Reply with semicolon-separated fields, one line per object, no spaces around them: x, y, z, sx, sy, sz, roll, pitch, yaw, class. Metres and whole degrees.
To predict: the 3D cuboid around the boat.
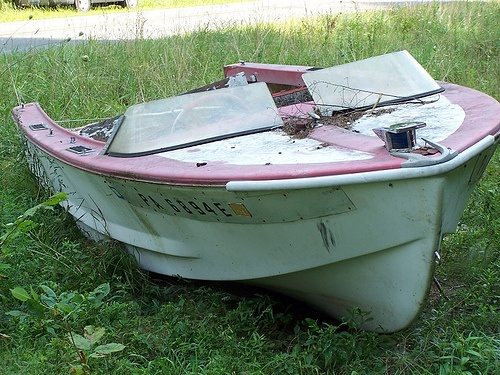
-0.193;0.022;3.901;2.716;1.032;3.214;-17;28;-28;boat
